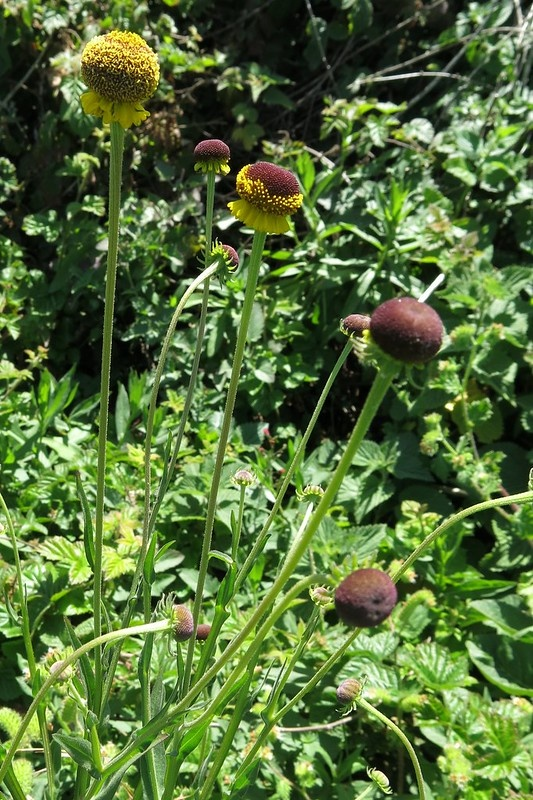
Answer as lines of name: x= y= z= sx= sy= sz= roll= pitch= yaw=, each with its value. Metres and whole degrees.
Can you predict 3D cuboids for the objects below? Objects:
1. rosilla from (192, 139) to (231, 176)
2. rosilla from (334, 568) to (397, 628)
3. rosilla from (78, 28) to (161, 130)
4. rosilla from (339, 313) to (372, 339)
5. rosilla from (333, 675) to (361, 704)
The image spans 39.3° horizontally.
rosilla: x=-0.106 y=-0.486 z=1.542 sx=0.097 sy=0.075 sz=0.084 roll=0 pitch=0 yaw=-6
rosilla: x=0.126 y=0.250 z=0.948 sx=0.079 sy=0.066 sz=0.079 roll=9 pitch=23 yaw=-4
rosilla: x=-0.237 y=-0.518 z=1.213 sx=0.130 sy=0.141 sz=0.118 roll=-6 pitch=31 yaw=-15
rosilla: x=0.156 y=-0.131 z=1.347 sx=0.060 sy=0.039 sz=0.070 roll=-4 pitch=-4 yaw=8
rosilla: x=0.145 y=0.484 z=1.256 sx=0.028 sy=0.047 sz=0.040 roll=38 pitch=-20 yaw=-31
